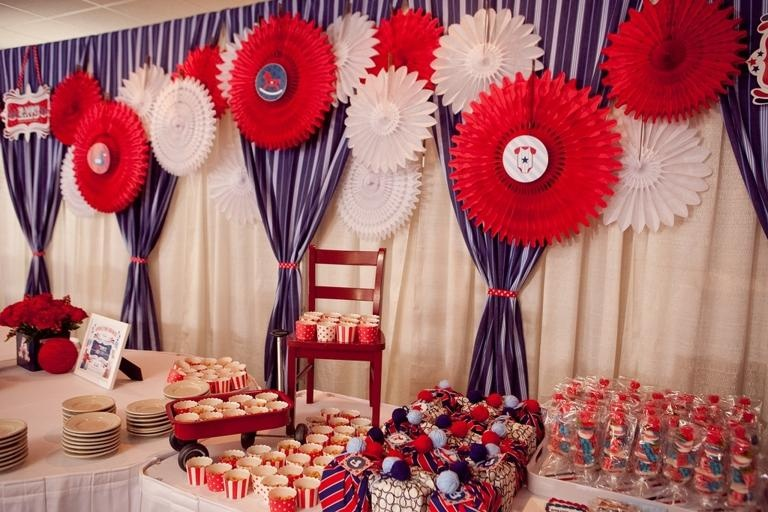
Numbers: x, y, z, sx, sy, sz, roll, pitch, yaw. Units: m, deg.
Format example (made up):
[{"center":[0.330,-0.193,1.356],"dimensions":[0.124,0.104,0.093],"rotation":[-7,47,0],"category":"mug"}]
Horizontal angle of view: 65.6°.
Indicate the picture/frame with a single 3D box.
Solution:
[{"center":[-1.856,0.640,3.991],"dimensions":[0.358,0.368,0.207],"rotation":[17,9,24],"category":"picture/frame"}]
